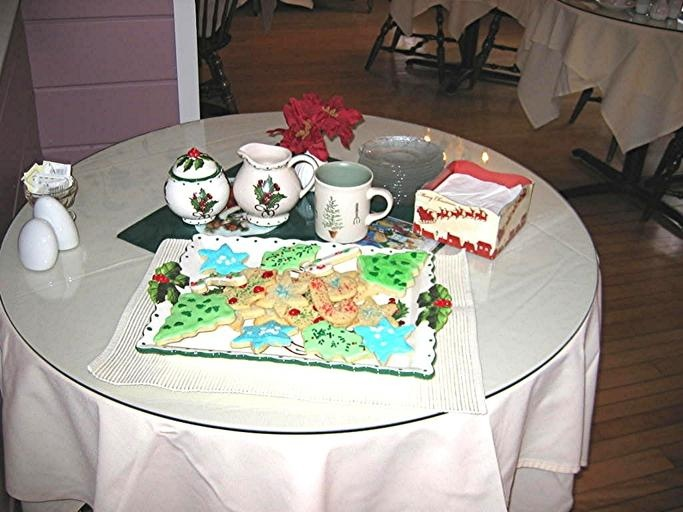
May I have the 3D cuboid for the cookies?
[{"bbox_3d":[-0.088,0.086,0.894,0.345,0.055,0.244,4,46,5],"label":"cookies"}]

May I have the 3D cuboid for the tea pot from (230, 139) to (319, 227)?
[{"bbox_3d":[-0.141,-0.164,1.185,0.187,0.176,0.154,4,40,-2],"label":"tea pot"}]

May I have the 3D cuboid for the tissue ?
[{"bbox_3d":[0.273,-0.117,1.108,0.209,0.137,0.214,20,45,27],"label":"tissue "}]

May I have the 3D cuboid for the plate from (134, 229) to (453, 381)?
[{"bbox_3d":[-0.072,0.098,0.899,0.365,0.057,0.273,6,44,7],"label":"plate"}]

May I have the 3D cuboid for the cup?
[{"bbox_3d":[0.002,-0.116,1.138,0.190,0.147,0.126,18,43,20],"label":"cup"}]

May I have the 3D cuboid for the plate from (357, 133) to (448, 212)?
[{"bbox_3d":[0.147,-0.228,1.216,0.169,0.112,0.187,5,29,12],"label":"plate"}]

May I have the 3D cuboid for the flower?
[{"bbox_3d":[-0.039,-0.301,1.204,0.181,0.117,0.187,16,52,19],"label":"flower"}]
